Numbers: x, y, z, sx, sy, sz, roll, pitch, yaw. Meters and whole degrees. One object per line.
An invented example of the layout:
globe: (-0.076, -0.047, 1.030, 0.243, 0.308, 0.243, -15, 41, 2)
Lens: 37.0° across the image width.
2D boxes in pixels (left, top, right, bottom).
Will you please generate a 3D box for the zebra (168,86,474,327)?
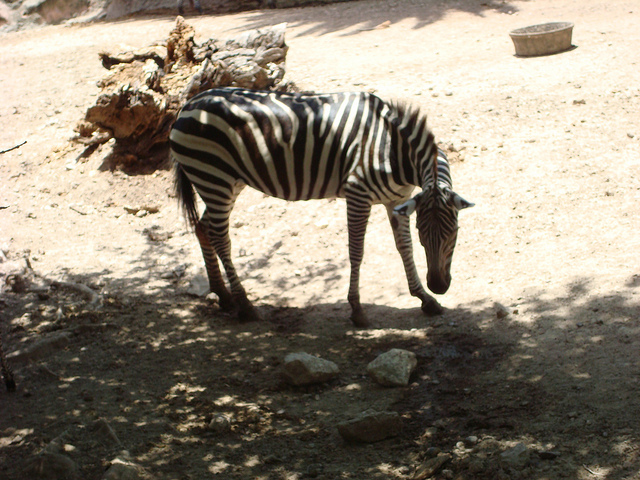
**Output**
zebra: (-0.002, -0.428, 11.904, 3.463, 2.939, 1.234, -2, 24, 13)
